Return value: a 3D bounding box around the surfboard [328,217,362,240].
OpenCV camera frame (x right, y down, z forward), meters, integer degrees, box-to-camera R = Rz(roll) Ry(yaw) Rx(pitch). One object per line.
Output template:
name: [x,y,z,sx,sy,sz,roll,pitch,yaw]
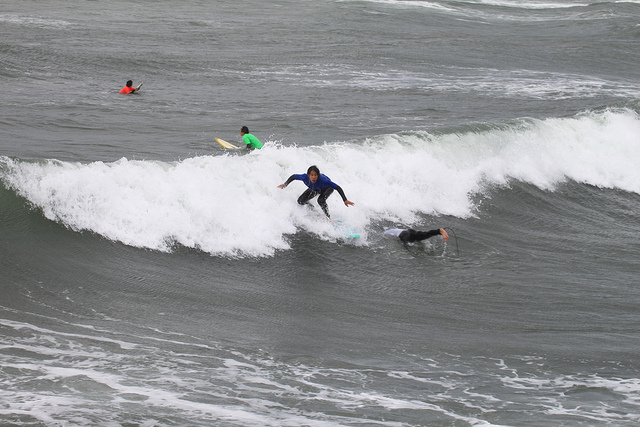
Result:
surfboard: [0.664,0.442,26.200,1.244,0.133,0.370,25,37,21]
